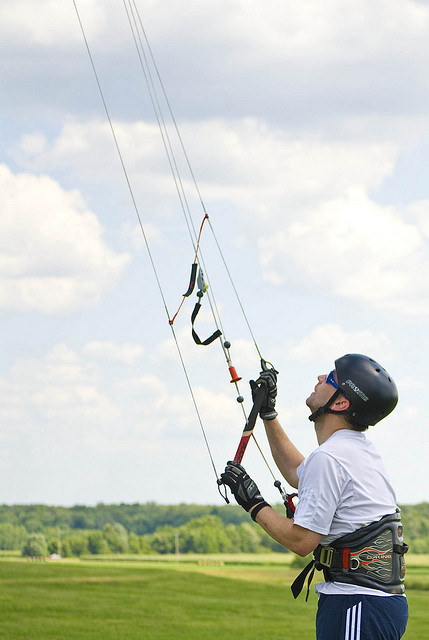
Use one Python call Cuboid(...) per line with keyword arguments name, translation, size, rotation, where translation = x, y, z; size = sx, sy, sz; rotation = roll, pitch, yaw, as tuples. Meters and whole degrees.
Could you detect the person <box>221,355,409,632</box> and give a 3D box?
Cuboid(name="person", translation=(0.856, 1.256, 9.595), size=(1.117, 1.996, 0.451), rotation=(0, -12, 4))
